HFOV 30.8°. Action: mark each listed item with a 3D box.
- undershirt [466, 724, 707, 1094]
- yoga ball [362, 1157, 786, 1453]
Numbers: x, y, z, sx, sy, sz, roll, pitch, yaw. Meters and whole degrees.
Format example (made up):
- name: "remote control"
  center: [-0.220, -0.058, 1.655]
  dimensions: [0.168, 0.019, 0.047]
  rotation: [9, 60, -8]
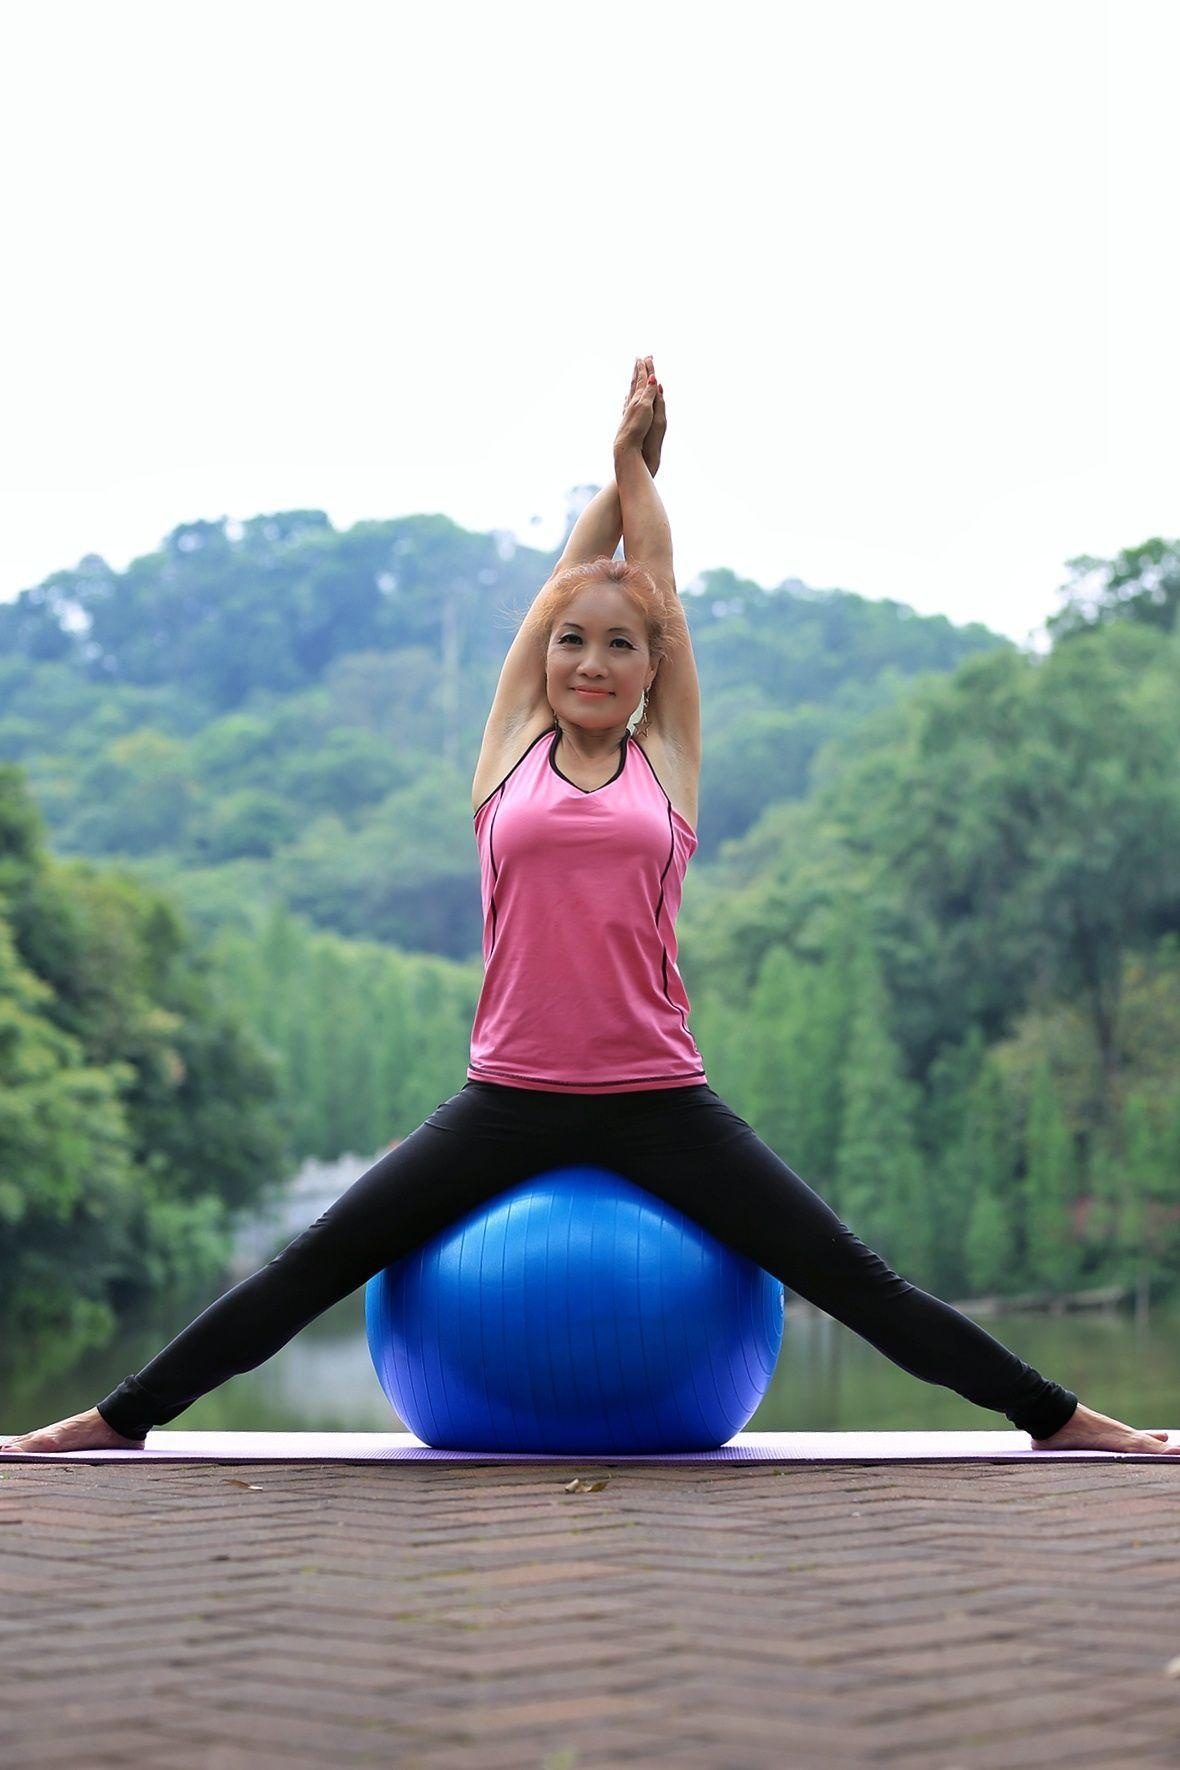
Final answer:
- name: "undershirt"
  center: [0.013, 0.014, 3.662]
  dimensions: [0.444, 0.607, 0.258]
  rotation: [1, 1, 11]
- name: "yoga ball"
  center: [-0.033, 0.627, 3.593]
  dimensions: [0.618, 0.360, 0.557]
  rotation: [6, 17, -30]
